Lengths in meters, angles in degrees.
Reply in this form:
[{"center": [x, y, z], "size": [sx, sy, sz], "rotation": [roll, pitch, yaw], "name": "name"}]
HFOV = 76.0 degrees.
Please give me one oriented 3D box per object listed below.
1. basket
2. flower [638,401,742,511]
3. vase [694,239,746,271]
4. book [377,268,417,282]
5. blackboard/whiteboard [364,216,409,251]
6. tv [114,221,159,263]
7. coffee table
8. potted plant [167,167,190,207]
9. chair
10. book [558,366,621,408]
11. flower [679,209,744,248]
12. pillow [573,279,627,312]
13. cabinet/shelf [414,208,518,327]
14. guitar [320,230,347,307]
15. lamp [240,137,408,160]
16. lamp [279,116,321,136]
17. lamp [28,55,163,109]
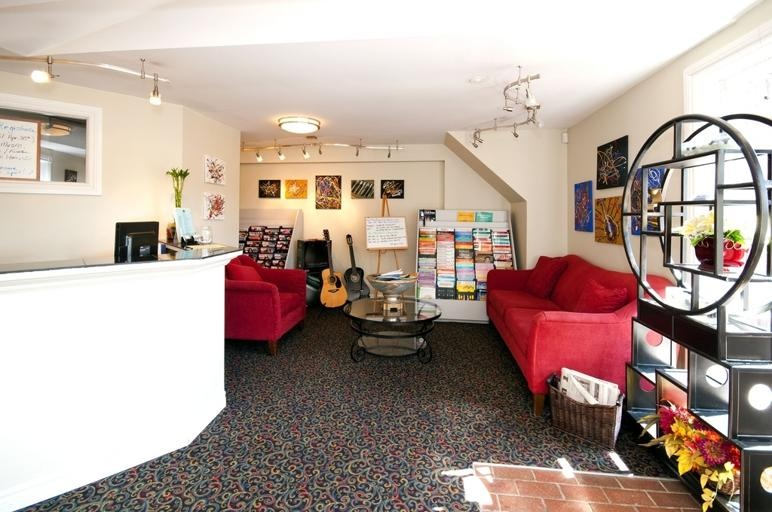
[{"center": [1.832, 1.352, 4.458], "size": [0.609, 0.564, 0.364], "rotation": [11, 26, 36], "name": "basket"}, {"center": [2.450, 1.512, 3.878], "size": [0.689, 0.292, 0.687], "rotation": [-28, -16, 15], "name": "flower"}, {"center": [2.579, -0.015, 3.778], "size": [0.270, 0.164, 0.236], "rotation": [-1, 1, 6], "name": "vase"}, {"center": [0.105, 0.229, 6.001], "size": [0.473, 0.115, 0.697], "rotation": [1, 12, 2], "name": "book"}, {"center": [-0.005, -0.377, 7.860], "size": [0.589, 0.443, 0.080], "rotation": [-2, 3, -3], "name": "blackboard/whiteboard"}, {"center": [-2.195, -0.121, 4.396], "size": [0.395, 0.371, 0.200], "rotation": [-1, -3, 6], "name": "tv"}, {"center": [0.050, 0.807, 5.865], "size": [1.109, 0.682, 1.252], "rotation": [0, 12, -2], "name": "coffee table"}, {"center": [-2.579, -0.855, 6.059], "size": [0.268, 0.480, 0.503], "rotation": [-4, 13, -21], "name": "potted plant"}, {"center": [-1.622, 0.515, 6.222], "size": [0.997, 1.022, 1.221], "rotation": [4, 6, 13], "name": "chair"}, {"center": [1.826, 1.141, 4.384], "size": [0.398, 0.130, 0.303], "rotation": [10, 2, 30], "name": "book"}, {"center": [2.584, -0.255, 3.870], "size": [0.472, 0.218, 0.418], "rotation": [-3, 11, -1], "name": "flower"}, {"center": [2.108, 0.419, 4.860], "size": [0.109, 0.359, 0.345], "rotation": [38, -26, -27], "name": "pillow"}, {"center": [1.162, 0.204, 7.056], "size": [1.694, 1.887, 0.756], "rotation": [0, -10, 5], "name": "cabinet/shelf"}, {"center": [-0.852, 0.216, 7.784], "size": [0.426, 1.157, 0.733], "rotation": [-1, 12, -6], "name": "guitar"}, {"center": [-1.087, -1.734, 8.045], "size": [2.756, 0.366, 0.677], "rotation": [1, 12, 1], "name": "lamp"}, {"center": [-1.175, -1.776, 6.569], "size": [0.557, 0.180, 0.326], "rotation": [-1, 12, -9], "name": "lamp"}, {"center": [-2.963, -1.819, 5.160], "size": [1.150, 0.425, 0.989], "rotation": [-5, 13, -24], "name": "lamp"}]
